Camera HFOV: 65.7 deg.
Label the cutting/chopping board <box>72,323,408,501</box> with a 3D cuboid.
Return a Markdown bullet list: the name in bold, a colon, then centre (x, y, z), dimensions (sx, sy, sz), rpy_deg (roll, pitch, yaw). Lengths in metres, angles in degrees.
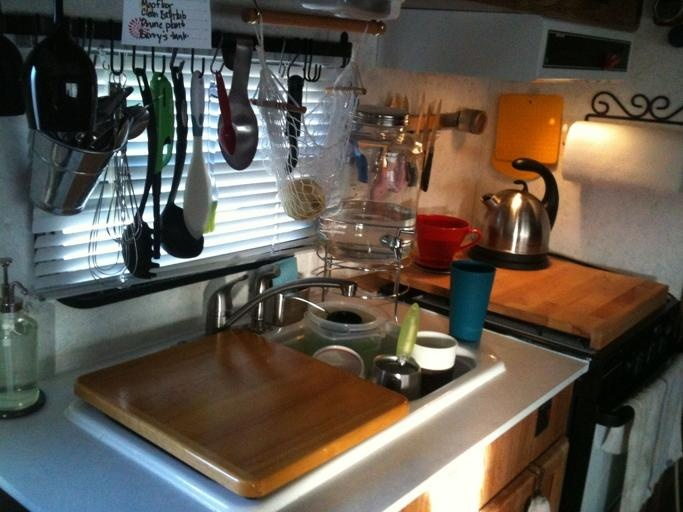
- **cutting/chopping board**: centre (-0.174, 0.283, 1.029), dimensions (0.304, 0.026, 0.335), rpy_deg (-10, 23, -43)

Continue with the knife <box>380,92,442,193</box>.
- **knife**: centre (0.223, -0.385, 1.729), dimensions (0.039, 0.387, 0.340), rpy_deg (21, 33, 27)

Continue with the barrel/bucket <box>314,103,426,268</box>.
- **barrel/bucket**: centre (0.110, -0.188, 1.494), dimensions (0.317, 0.439, 0.252), rpy_deg (-1, 19, -15)

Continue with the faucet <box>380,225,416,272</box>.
- **faucet**: centre (0.178, -0.023, 1.550), dimensions (0.138, 0.114, 0.109), rpy_deg (-5, 12, -34)

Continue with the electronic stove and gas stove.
- **electronic stove and gas stove**: centre (0.685, 0.261, 1.597), dimensions (0.467, 0.122, 0.527), rpy_deg (16, 27, 33)

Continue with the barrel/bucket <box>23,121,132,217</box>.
- **barrel/bucket**: centre (-0.503, -0.153, 0.980), dimensions (0.196, 0.185, 0.090), rpy_deg (3, 18, -4)

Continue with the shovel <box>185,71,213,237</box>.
- **shovel**: centre (-0.355, -0.244, 1.303), dimensions (0.066, 0.395, 0.143), rpy_deg (-1, 19, -14)

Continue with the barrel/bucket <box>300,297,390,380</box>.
- **barrel/bucket**: centre (0.023, 0.195, 1.402), dimensions (0.183, 0.134, 0.183), rpy_deg (2, 16, -1)

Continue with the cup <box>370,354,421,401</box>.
- **cup**: centre (0.120, 0.265, 1.184), dimensions (0.077, 0.068, 0.105), rpy_deg (4, 16, 10)
